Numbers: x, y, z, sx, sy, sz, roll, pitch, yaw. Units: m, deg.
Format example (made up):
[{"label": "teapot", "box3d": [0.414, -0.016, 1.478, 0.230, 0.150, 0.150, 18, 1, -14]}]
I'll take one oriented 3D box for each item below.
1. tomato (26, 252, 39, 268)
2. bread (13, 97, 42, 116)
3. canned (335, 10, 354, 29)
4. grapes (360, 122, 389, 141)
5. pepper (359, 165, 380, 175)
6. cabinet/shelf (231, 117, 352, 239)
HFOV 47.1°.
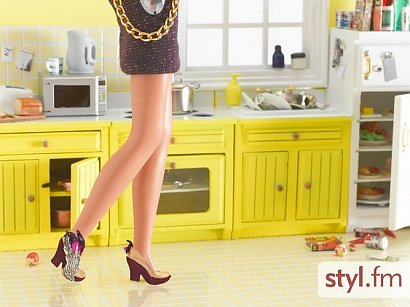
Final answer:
[{"label": "tomato", "box3d": [-1.029, 0.629, 2.808, 0.072, 0.077, 0.066, -5, 14, -24]}, {"label": "bread", "box3d": [-1.122, -0.298, 2.994, 0.166, 0.111, 0.120, -3, 26, -27]}, {"label": "canned", "box3d": [1.033, -0.981, 3.444, 0.095, 0.120, 0.165, -8, 11, -40]}, {"label": "grapes", "box3d": [1.238, -0.148, 3.455, 0.185, 0.134, 0.082, 11, -23, 0]}, {"label": "pepper", "box3d": [1.199, 0.109, 3.446, 0.086, 0.042, 0.105, -3, 7, -6]}, {"label": "cabinet/shelf", "box3d": [0.574, 0.135, 3.200, 0.822, 0.740, 0.441, -1, 5, -7]}]
